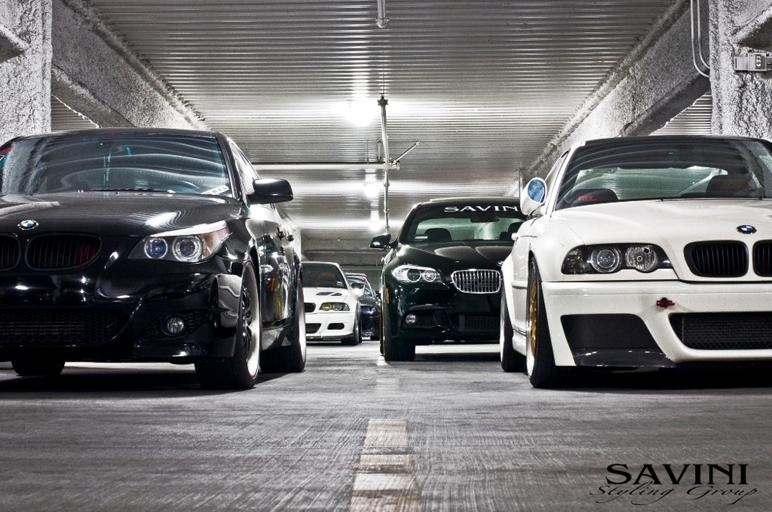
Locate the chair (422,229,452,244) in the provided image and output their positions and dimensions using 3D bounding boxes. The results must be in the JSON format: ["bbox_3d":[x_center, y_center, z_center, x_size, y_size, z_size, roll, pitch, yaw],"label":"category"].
[{"bbox_3d":[0.679,-0.264,8.303,0.396,0.182,0.373,-5,-1,34],"label":"chair"}]

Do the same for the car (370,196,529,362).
[{"bbox_3d":[0.709,0.290,8.057,1.550,1.026,2.730,-1,-5,0],"label":"car"}]
